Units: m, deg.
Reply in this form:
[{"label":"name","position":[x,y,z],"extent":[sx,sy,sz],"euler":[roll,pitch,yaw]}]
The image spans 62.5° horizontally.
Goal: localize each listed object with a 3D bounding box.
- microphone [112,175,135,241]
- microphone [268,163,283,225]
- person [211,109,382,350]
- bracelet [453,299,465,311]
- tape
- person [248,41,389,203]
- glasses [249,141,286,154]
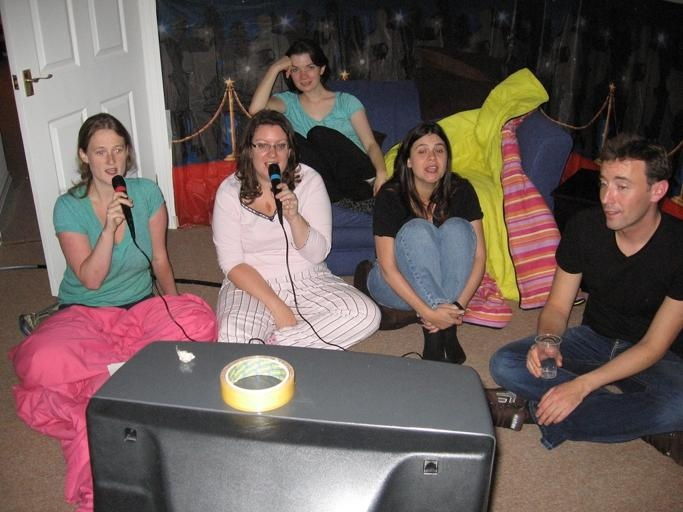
[{"label":"microphone","position":[-0.950,-0.200,2.447],"extent":[0.057,0.295,0.066],"euler":[-18,5,9]},{"label":"microphone","position":[-0.297,-0.283,2.584],"extent":[0.061,0.261,0.236],"euler":[-5,20,-7]},{"label":"person","position":[-0.255,-0.118,2.616],"extent":[0.741,1.044,0.590],"euler":[-8,21,-14]},{"label":"bracelet","position":[0.561,0.231,2.676],"extent":[0.015,0.049,0.034],"euler":[-24,6,-13]},{"label":"tape","position":[-0.202,0.297,1.333],"extent":[0.153,0.108,0.156],"euler":[1,20,-10]},{"label":"person","position":[-0.186,-0.727,3.632],"extent":[0.783,1.118,0.647],"euler":[-7,29,-23]},{"label":"glasses","position":[-0.335,-0.510,2.633],"extent":[0.159,0.050,0.047],"euler":[-4,20,-4]}]
